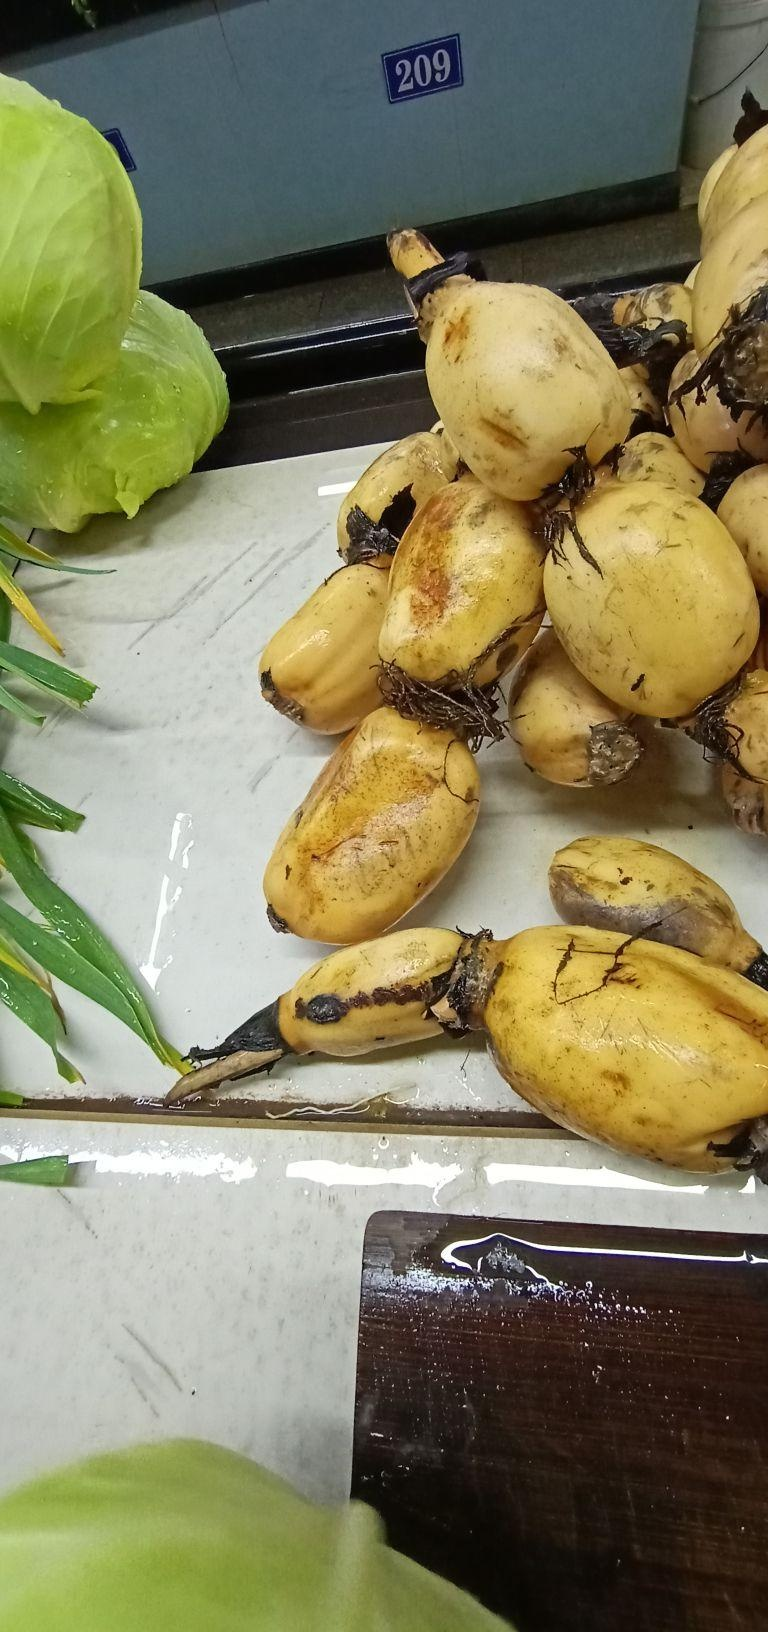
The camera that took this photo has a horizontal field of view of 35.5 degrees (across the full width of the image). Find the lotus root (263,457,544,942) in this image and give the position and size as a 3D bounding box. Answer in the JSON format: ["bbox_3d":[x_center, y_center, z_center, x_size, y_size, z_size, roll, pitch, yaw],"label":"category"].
[{"bbox_3d":[0.019,-0.067,0.887,0.098,0.182,0.357,11,86,46],"label":"lotus root"}]
